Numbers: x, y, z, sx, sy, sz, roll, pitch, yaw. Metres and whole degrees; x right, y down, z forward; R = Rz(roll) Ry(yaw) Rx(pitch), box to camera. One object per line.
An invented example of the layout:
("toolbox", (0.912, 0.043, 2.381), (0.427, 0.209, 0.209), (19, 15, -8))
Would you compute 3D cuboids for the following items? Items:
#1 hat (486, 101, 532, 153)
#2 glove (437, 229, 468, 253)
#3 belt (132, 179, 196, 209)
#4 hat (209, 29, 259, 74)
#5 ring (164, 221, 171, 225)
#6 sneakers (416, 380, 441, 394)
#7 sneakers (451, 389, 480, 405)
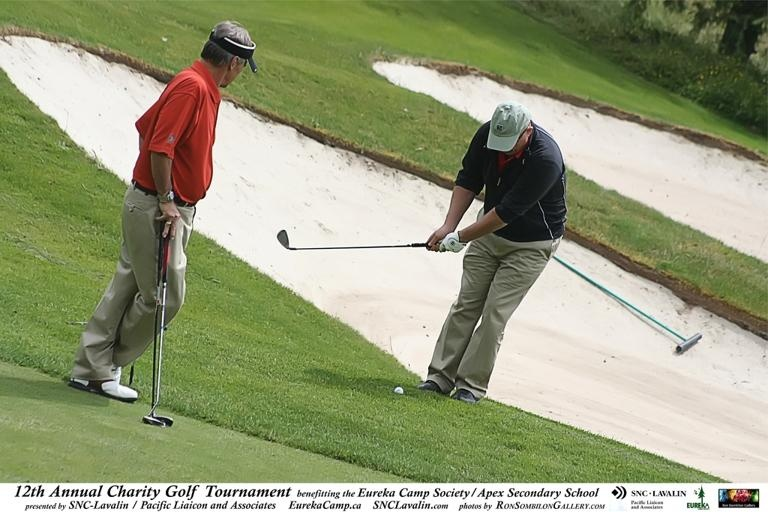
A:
("hat", (1.697, -1.828, 15.870), (0.478, 0.703, 0.371), (16, -16, 19))
("glove", (0.961, -0.170, 16.488), (0.159, 0.255, 0.344), (54, -15, -28))
("belt", (-2.792, -0.783, 14.743), (0.827, 0.132, 0.170), (18, 14, -12))
("hat", (-1.917, -2.644, 14.837), (0.622, 0.294, 0.480), (28, 2, -28))
("ring", (-2.713, -0.414, 14.657), (0.077, 0.056, 0.031), (17, 15, -20))
("sneakers", (0.665, 1.896, 16.823), (0.397, 0.160, 0.140), (26, -10, -2))
("sneakers", (1.175, 2.002, 16.631), (0.346, 0.146, 0.181), (17, 25, -7))
